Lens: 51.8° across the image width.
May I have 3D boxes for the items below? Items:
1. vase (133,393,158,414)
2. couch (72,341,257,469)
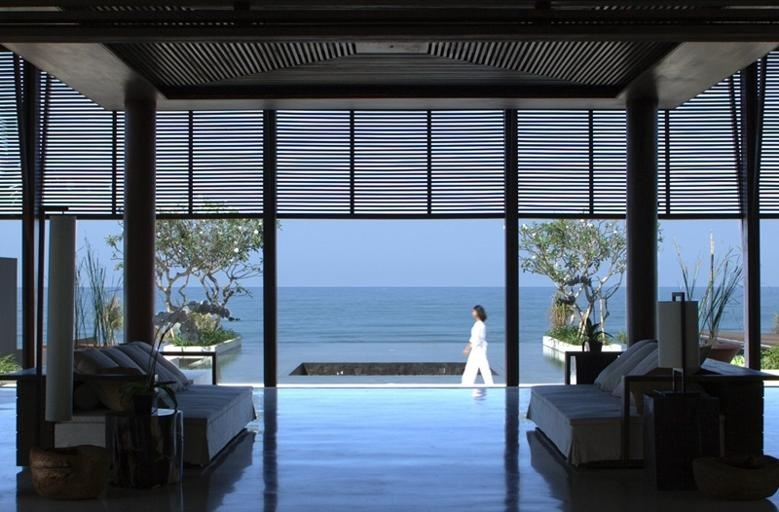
[{"bbox_3d":[-2.409,1.427,7.933,0.192,0.210,0.221,-2,0,2],"label":"vase"},{"bbox_3d":[-2.435,1.552,8.775,1.376,1.152,1.588,2,4,9],"label":"couch"}]
